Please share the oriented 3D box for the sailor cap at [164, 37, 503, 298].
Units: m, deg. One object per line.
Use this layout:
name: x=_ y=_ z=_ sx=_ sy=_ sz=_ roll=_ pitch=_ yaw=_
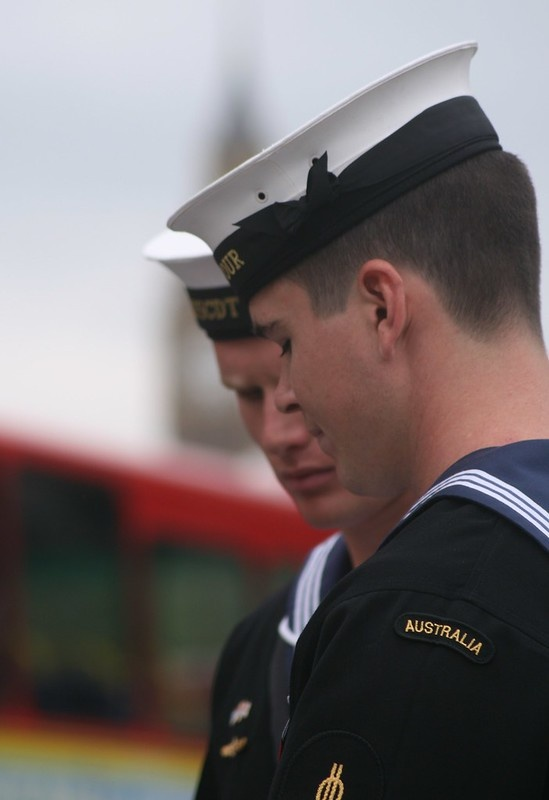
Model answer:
sailor cap: x=0.109 y=-0.369 z=1.908 sx=0.487 sy=0.140 sz=0.452 roll=-26 pitch=-4 yaw=7
